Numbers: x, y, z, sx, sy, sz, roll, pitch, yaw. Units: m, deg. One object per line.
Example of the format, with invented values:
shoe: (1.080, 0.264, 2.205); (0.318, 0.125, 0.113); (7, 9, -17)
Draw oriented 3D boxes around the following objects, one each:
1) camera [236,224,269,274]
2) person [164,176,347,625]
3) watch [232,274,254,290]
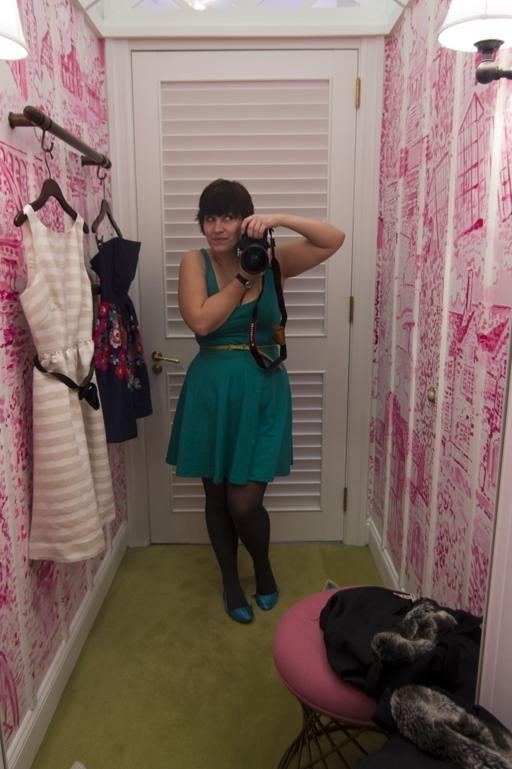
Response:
camera: (-0.004, -0.364, 1.363); (0.064, 0.104, 0.108); (-2, 44, 3)
person: (0.000, 0.079, 1.606); (0.440, 1.393, 0.368); (0, 5, 1)
watch: (-0.034, -0.287, 1.408); (0.042, 0.031, 0.046); (41, 3, -10)
